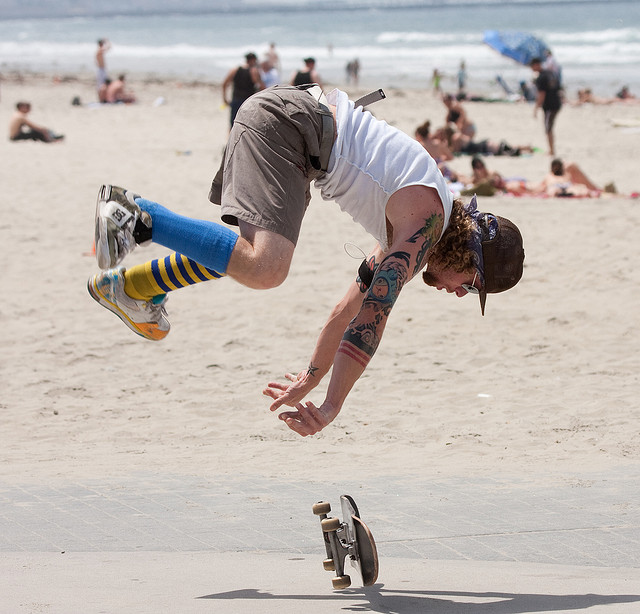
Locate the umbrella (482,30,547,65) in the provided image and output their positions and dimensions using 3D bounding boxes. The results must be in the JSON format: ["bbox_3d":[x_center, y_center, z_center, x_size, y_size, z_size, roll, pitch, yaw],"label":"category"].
[{"bbox_3d":[1.431,-1.914,7.923,0.439,0.287,0.624,2,8,8],"label":"umbrella"}]

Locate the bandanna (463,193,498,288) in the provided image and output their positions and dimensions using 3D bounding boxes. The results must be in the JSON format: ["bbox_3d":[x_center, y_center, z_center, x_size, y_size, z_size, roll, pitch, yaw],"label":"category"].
[{"bbox_3d":[0.736,-0.311,5.082,0.167,0.332,0.281,6,8,9],"label":"bandanna"}]

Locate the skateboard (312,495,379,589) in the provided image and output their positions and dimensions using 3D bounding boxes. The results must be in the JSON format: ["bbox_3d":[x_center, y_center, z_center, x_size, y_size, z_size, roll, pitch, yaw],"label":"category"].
[{"bbox_3d":[0.113,1.053,4.841,0.210,0.397,0.357,-2,10,-16],"label":"skateboard"}]

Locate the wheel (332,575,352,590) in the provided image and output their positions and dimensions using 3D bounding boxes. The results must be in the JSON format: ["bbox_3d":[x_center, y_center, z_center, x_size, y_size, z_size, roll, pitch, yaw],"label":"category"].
[{"bbox_3d":[0.094,1.219,4.787,0.079,0.076,0.087,1,9,0],"label":"wheel"}]

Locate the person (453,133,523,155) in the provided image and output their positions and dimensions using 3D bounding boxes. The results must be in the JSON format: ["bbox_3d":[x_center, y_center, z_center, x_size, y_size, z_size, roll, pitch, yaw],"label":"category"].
[{"bbox_3d":[2.526,-2.413,16.265,1.006,0.237,0.670,4,6,23],"label":"person"}]

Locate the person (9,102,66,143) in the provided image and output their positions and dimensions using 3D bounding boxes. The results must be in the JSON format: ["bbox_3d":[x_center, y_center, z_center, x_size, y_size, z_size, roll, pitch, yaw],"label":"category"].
[{"bbox_3d":[-3.959,-2.478,14.684,0.727,0.444,1.231,0,8,-1],"label":"person"}]

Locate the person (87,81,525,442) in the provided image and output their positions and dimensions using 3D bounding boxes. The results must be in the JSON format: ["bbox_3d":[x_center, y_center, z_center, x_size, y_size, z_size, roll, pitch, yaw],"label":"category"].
[{"bbox_3d":[-0.082,-0.287,5.205,1.974,1.207,1.144,15,7,-6],"label":"person"}]

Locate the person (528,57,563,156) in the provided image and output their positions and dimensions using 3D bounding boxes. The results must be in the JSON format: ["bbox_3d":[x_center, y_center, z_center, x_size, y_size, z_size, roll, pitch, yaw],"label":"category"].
[{"bbox_3d":[1.542,-1.425,7.457,0.221,0.648,0.667,2,9,9],"label":"person"}]
